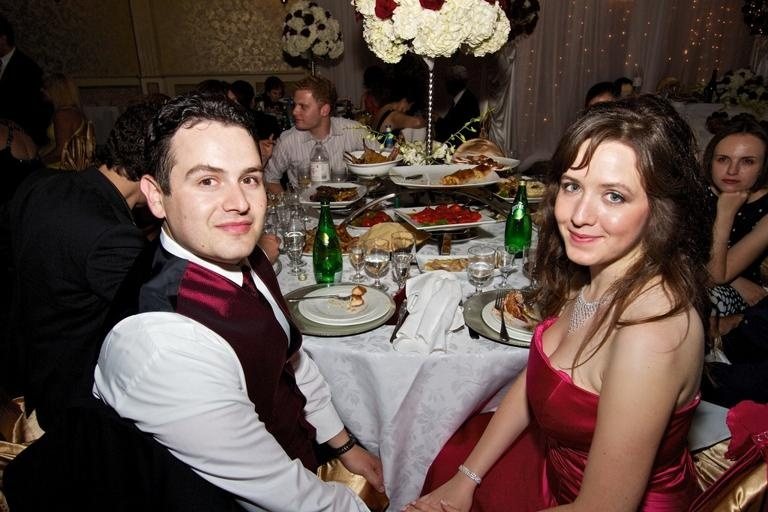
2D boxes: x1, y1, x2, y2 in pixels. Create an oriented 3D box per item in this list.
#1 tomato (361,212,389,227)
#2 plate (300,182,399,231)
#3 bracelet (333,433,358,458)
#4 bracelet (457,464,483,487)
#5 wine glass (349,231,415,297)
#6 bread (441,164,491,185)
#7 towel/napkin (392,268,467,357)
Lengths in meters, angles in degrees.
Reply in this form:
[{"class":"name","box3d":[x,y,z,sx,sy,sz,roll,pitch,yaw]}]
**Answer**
[{"class":"tomato","box3d":[-0.072,-0.207,2.690,0.103,0.043,0.105,-4,13,9]},{"class":"plate","box3d":[-0.248,-0.388,3.117,0.514,0.090,0.338,-19,33,-25]},{"class":"bracelet","box3d":[-0.156,0.767,1.991,0.097,0.028,0.101,-37,0,-38]},{"class":"bracelet","box3d":[0.321,0.811,1.808,0.018,0.066,0.064,-50,35,-8]},{"class":"wine glass","box3d":[-0.017,0.035,2.311,0.254,0.301,0.279,-1,16,1]},{"class":"bread","box3d":[0.482,-0.477,2.935,0.355,0.087,0.118,-14,-15,-17]},{"class":"towel/napkin","box3d":[0.178,0.207,1.913,0.218,0.058,0.315,1,41,19]}]
